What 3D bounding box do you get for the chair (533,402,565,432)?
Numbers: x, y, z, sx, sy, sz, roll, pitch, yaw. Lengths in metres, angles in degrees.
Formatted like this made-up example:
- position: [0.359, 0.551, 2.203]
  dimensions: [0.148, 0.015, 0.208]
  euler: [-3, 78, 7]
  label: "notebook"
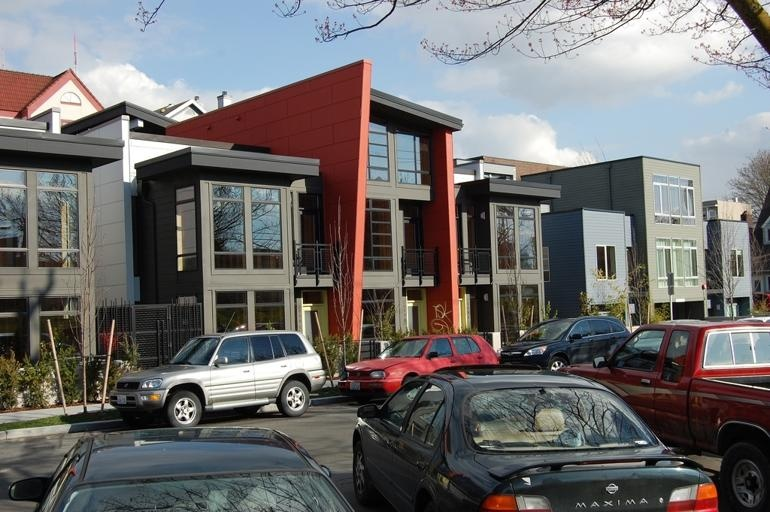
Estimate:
- position: [1.793, 1.833, 8.297]
  dimensions: [0.389, 0.386, 0.225]
  euler: [2, -26, -3]
  label: "chair"
